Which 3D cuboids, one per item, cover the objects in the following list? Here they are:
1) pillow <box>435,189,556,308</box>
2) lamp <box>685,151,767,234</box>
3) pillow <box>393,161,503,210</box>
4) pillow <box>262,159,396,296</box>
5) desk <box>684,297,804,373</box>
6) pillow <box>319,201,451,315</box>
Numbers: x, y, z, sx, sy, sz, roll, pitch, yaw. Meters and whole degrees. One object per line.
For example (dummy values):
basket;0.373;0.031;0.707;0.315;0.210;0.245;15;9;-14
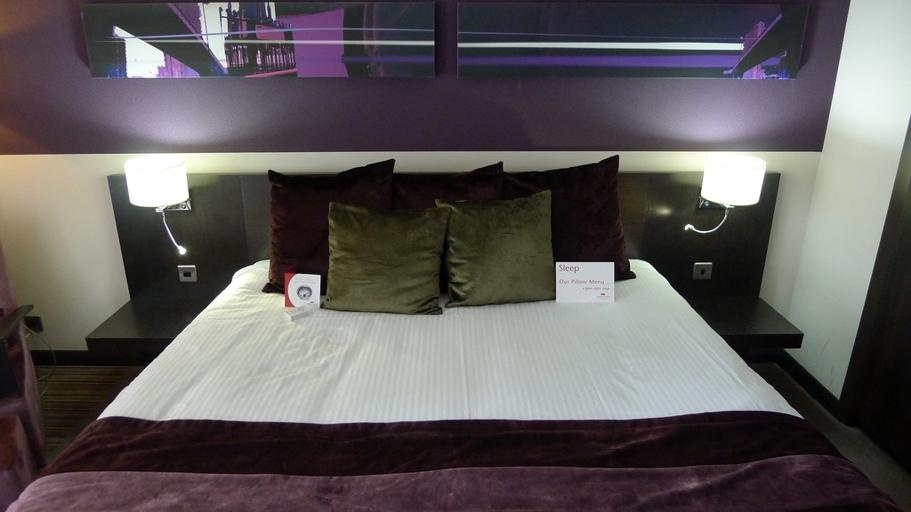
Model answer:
pillow;0.246;-0.018;3.576;0.759;0.556;0.340;-4;21;-3
lamp;1.899;-0.399;4.006;0.386;0.556;0.355;17;31;26
pillow;-0.065;-0.387;3.883;0.827;0.435;0.247;-3;15;10
pillow;-0.828;-0.183;3.911;0.919;0.787;0.313;-4;20;-31
desk;2.061;0.637;4.030;0.510;0.329;0.702;-12;22;-16
pillow;-0.434;0.028;3.548;0.739;0.539;0.331;2;26;2
